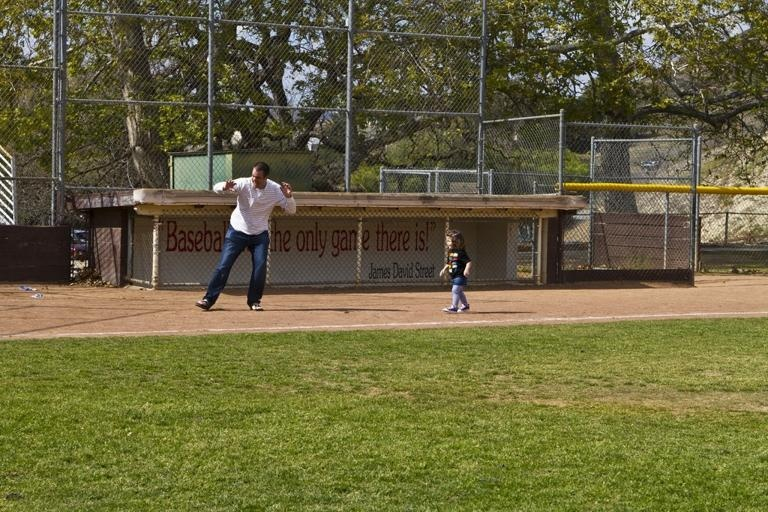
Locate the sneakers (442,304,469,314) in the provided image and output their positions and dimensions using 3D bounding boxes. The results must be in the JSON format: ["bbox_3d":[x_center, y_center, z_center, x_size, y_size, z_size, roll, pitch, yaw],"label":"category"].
[{"bbox_3d":[1.153,0.865,17.062,0.481,0.196,0.156,3,-5,-18],"label":"sneakers"}]

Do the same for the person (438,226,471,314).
[{"bbox_3d":[1.161,0.268,17.289,0.458,1.274,1.030,0,1,4],"label":"person"}]

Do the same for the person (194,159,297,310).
[{"bbox_3d":[-2.161,-0.272,16.550,1.207,2.288,0.468,0,1,-7],"label":"person"}]
